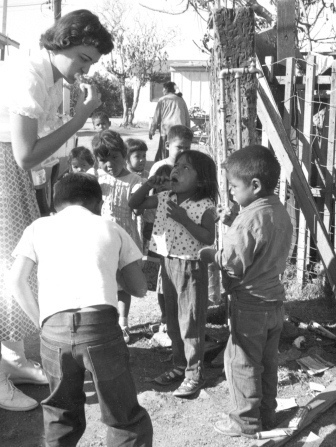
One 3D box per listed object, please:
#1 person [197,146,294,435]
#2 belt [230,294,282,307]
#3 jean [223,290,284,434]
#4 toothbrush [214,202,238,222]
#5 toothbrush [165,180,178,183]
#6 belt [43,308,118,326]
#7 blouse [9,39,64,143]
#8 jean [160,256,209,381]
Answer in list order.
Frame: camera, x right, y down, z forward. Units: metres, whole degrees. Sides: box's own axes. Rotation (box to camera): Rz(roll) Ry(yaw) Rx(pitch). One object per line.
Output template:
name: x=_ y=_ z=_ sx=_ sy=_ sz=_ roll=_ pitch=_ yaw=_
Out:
person: x=0.382 y=0.344 z=2.110 sx=0.339 sy=1.406 sz=0.320 roll=3 pitch=7 yaw=16
belt: x=0.397 y=0.357 z=2.103 sx=0.160 sy=0.048 sz=0.042 roll=4 pitch=8 yaw=16
jean: x=0.428 y=0.656 z=2.218 sx=0.266 sy=0.700 sz=0.205 roll=-3 pitch=7 yaw=-35
toothbrush: x=0.349 y=-0.074 z=2.716 sx=0.035 sy=0.047 sz=0.161 roll=15 pitch=55 yaw=48
toothbrush: x=0.020 y=-0.259 z=2.701 sx=0.051 sy=0.016 sz=0.054 roll=3 pitch=-1 yaw=-35
belt: x=-0.326 y=0.345 z=1.652 sx=0.274 sy=0.083 sz=0.106 roll=1 pitch=8 yaw=-3
blouse: x=-0.597 y=-0.578 z=1.995 sx=0.220 sy=0.424 sz=0.447 roll=0 pitch=8 yaw=-6
jean: x=0.075 y=0.539 z=2.684 sx=0.316 sy=0.733 sz=0.176 roll=7 pitch=9 yaw=40
